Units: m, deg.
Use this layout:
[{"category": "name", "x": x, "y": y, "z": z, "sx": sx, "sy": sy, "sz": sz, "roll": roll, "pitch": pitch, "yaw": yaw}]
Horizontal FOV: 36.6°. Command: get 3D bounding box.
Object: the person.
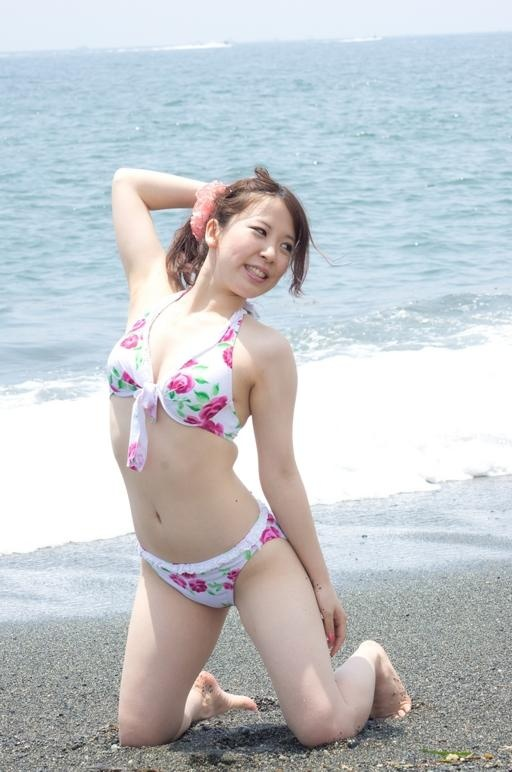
[{"category": "person", "x": -0.040, "y": 0.253, "z": 2.356, "sx": 0.821, "sy": 1.840, "sz": 0.518, "roll": -2, "pitch": 9, "yaw": 7}]
